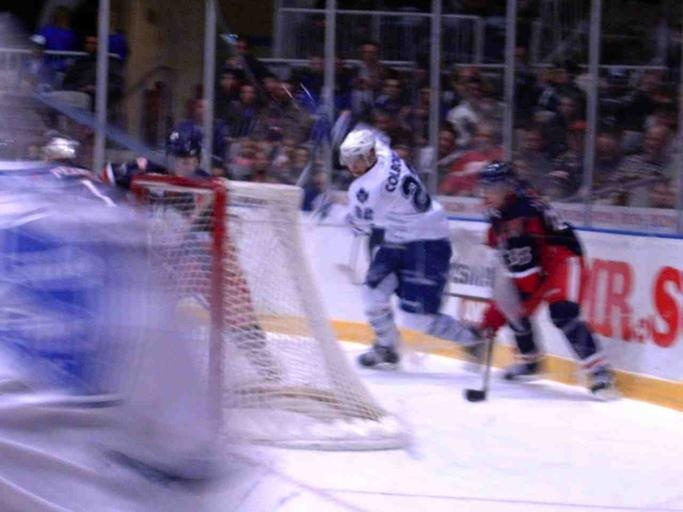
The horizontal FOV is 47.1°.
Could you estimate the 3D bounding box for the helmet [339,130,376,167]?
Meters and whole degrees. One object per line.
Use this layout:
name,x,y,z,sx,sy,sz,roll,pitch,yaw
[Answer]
helmet,0.121,-0.723,5.288,0.225,0.240,0.223,7,9,2

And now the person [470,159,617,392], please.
person,1.371,0.154,5.222,1.010,1.460,0.277,12,11,27

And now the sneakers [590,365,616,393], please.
sneakers,1.675,0.797,5.016,0.143,0.164,0.060,6,10,-3

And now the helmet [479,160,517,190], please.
helmet,1.062,-0.549,5.272,0.260,0.176,0.186,8,9,11

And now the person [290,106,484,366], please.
person,0.457,-0.010,5.550,1.121,1.649,0.403,6,10,-7
